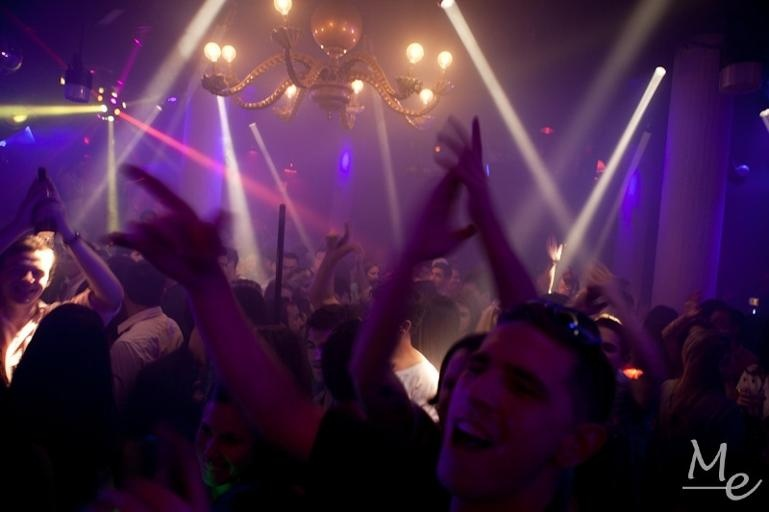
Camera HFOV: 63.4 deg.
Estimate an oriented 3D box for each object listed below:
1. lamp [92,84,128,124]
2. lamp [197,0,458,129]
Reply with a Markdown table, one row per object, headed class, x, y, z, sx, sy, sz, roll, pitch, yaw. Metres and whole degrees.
| class | x | y | z | sx | sy | sz | roll | pitch | yaw |
| --- | --- | --- | --- | --- | --- | --- | --- | --- | --- |
| lamp | -6.343 | -3.469 | 14.309 | 0.557 | 0.153 | 0.569 | -34 | -44 | 12 |
| lamp | -0.939 | -3.345 | 10.601 | 2.813 | 1.382 | 2.745 | 8 | 1 | 6 |
